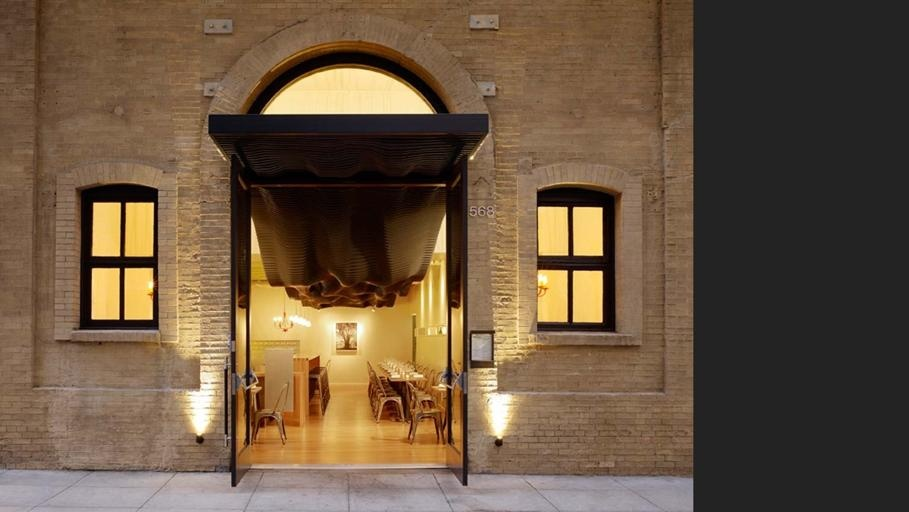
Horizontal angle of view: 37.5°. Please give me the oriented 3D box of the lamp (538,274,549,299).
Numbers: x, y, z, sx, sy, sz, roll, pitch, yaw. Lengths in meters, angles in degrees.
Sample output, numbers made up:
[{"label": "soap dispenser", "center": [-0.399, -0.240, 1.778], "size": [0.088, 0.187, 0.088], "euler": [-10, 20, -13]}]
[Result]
[{"label": "lamp", "center": [1.518, 0.490, 22.660], "size": [0.164, 0.374, 0.045], "euler": [0, -5, -10]}]
